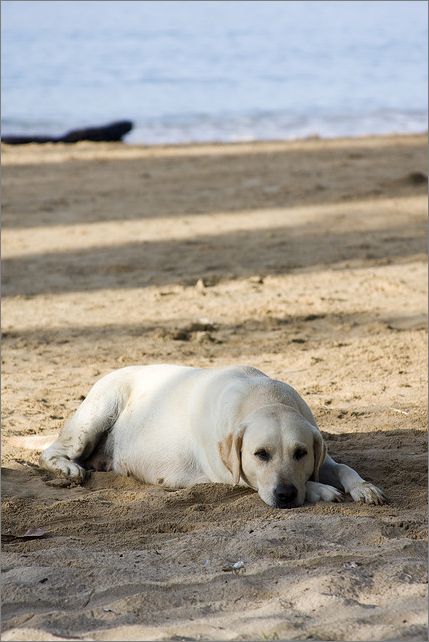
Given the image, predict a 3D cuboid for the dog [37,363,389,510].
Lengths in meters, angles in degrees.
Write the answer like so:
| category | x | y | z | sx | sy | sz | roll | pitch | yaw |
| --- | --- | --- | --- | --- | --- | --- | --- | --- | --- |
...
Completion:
| category | x | y | z | sx | sy | sz | roll | pitch | yaw |
| --- | --- | --- | --- | --- | --- | --- | --- | --- | --- |
| dog | -0.032 | 0.626 | 5.815 | 0.907 | 0.448 | 1.339 | -2 | 5 | -42 |
